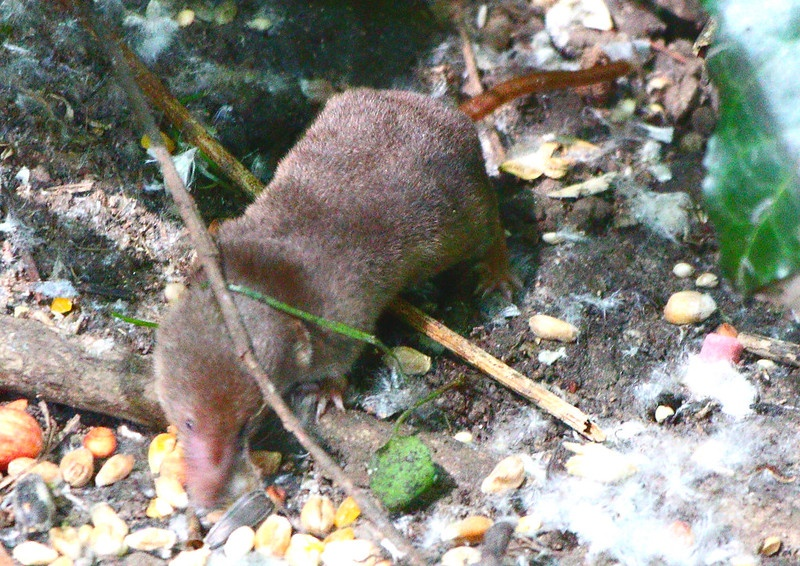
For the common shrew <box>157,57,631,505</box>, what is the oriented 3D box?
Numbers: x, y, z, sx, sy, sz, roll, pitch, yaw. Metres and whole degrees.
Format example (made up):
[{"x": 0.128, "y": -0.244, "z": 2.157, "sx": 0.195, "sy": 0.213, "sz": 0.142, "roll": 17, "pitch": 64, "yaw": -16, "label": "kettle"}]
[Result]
[{"x": -0.307, "y": -0.169, "z": 4.646, "sx": 1.085, "sy": 0.846, "sz": 2.837, "roll": 29, "pitch": 84, "yaw": 41, "label": "common shrew"}]
